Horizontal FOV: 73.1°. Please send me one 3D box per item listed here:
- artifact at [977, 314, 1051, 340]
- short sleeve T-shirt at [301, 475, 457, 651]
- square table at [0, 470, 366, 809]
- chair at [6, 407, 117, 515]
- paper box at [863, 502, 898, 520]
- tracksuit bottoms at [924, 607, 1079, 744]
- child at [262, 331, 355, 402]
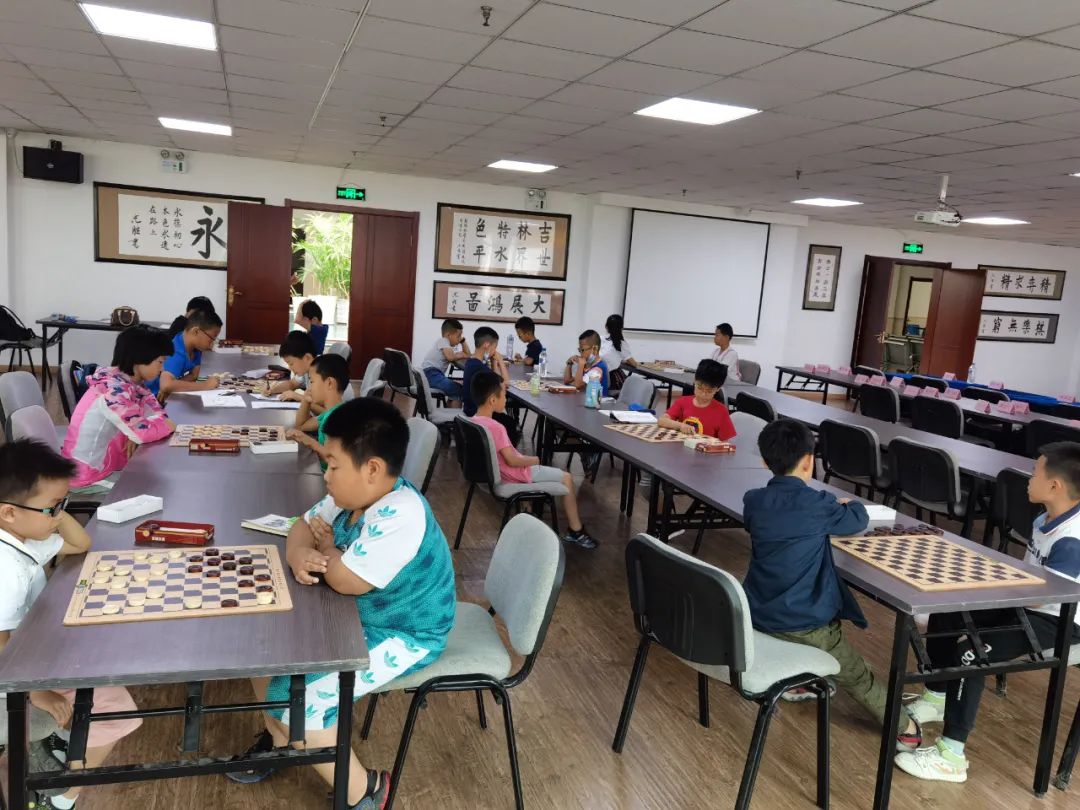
[{"bbox_3d":[8.244,-1.331,12.500,1.735,0.530,0.121,1,10,-20],"label":"artifact"},{"bbox_3d":[-0.541,0.442,2.430,0.463,0.667,0.491,-1,25,-27],"label":"short sleeve T-shirt"},{"bbox_3d":[-1.059,0.865,2.424,0.874,0.885,1.351,1,10,-17],"label":"square table"},{"bbox_3d":[-1.828,0.216,2.824,0.320,0.410,0.296,6,41,-12],"label":"chair"},{"bbox_3d":[1.480,0.460,3.152,0.137,0.038,0.148,0,11,-10],"label":"paper box"},{"bbox_3d":[1.666,1.005,2.824,0.520,0.503,0.359,1,10,-14],"label":"tracksuit bottoms"},{"bbox_3d":[-1.419,-0.279,4.797,0.649,0.341,0.421,-10,16,-13],"label":"child"}]
